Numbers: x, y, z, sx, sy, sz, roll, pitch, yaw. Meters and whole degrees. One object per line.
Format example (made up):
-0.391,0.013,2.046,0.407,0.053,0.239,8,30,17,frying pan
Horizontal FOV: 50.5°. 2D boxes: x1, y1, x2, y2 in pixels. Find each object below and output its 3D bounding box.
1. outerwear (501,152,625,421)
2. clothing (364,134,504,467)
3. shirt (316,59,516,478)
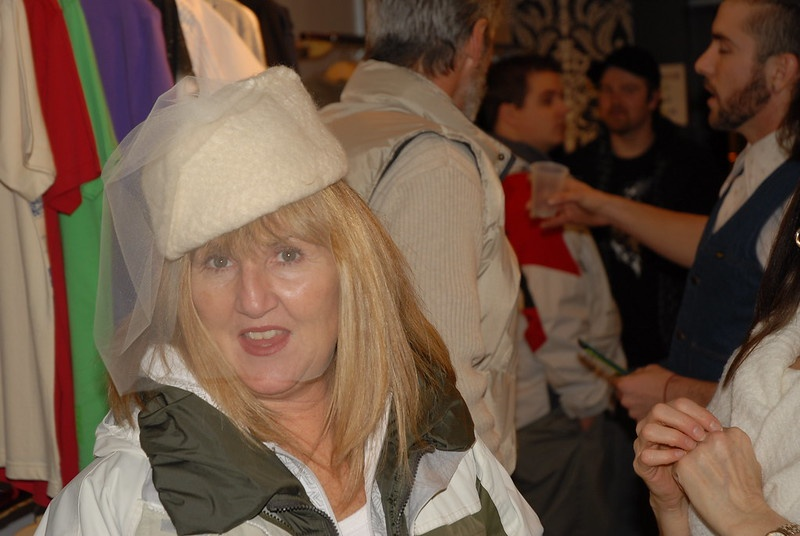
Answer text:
0.675,0.045,3.397,0.442,0.895,0.794,-12,20,-6,outerwear
0.081,0.076,2.408,0.399,0.824,0.729,-7,18,1,clothing
0.080,0.003,2.979,0.651,1.354,1.196,-4,9,-7,shirt
